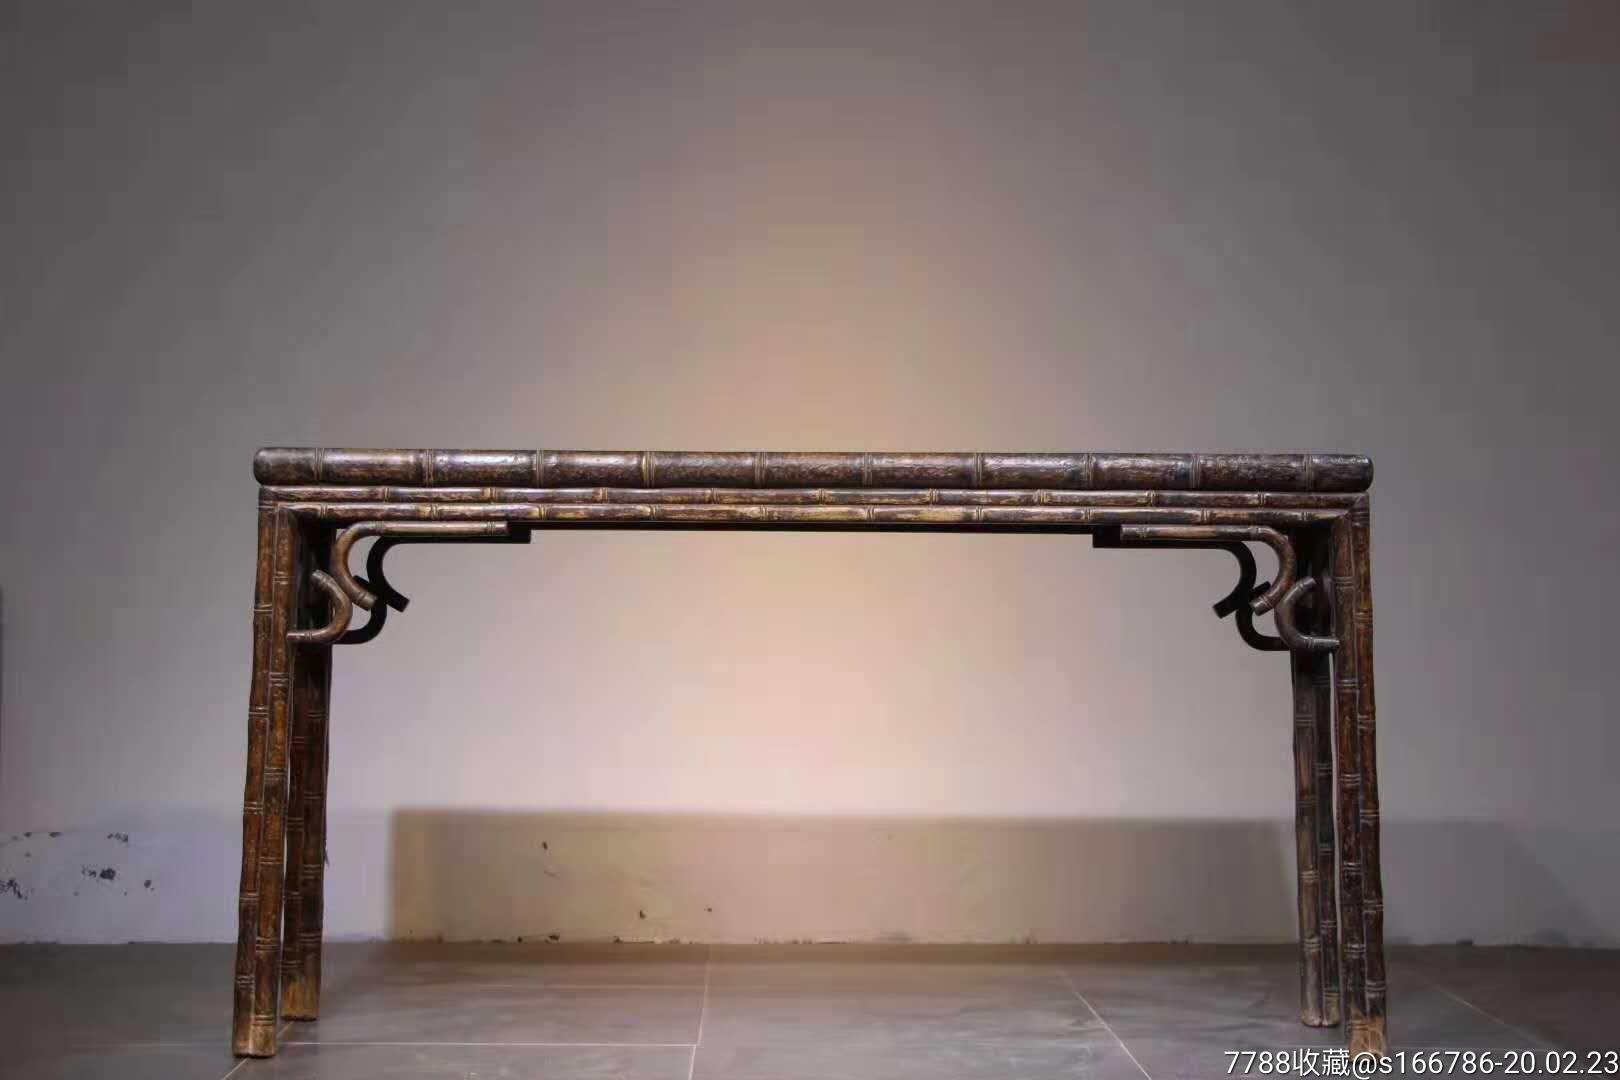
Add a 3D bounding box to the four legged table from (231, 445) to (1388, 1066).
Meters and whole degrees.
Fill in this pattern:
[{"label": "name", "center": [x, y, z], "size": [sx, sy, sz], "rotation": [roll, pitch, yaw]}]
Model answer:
[{"label": "four legged table", "center": [-0.001, 0.684, 9.158], "size": [3.936, 2.125, 0.767], "rotation": [1, -6, 4]}]
